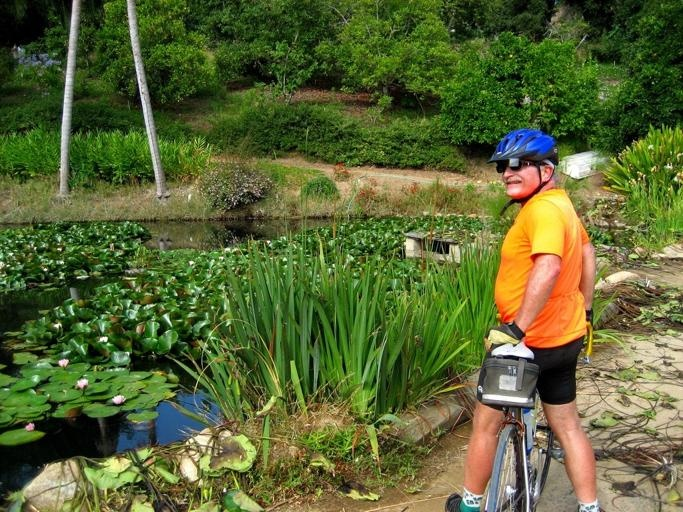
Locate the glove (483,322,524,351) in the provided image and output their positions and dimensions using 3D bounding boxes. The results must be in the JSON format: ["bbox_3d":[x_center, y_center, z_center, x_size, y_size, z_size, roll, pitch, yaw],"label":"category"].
[{"bbox_3d":[0.968,0.470,3.585,0.278,0.134,0.103,-11,9,4],"label":"glove"}]

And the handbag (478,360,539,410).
[{"bbox_3d":[0.979,0.742,3.492,0.346,0.338,0.264,4,-22,11],"label":"handbag"}]

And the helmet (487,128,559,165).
[{"bbox_3d":[1.141,-0.667,3.766,0.325,0.179,0.227,-2,7,-17],"label":"helmet"}]
